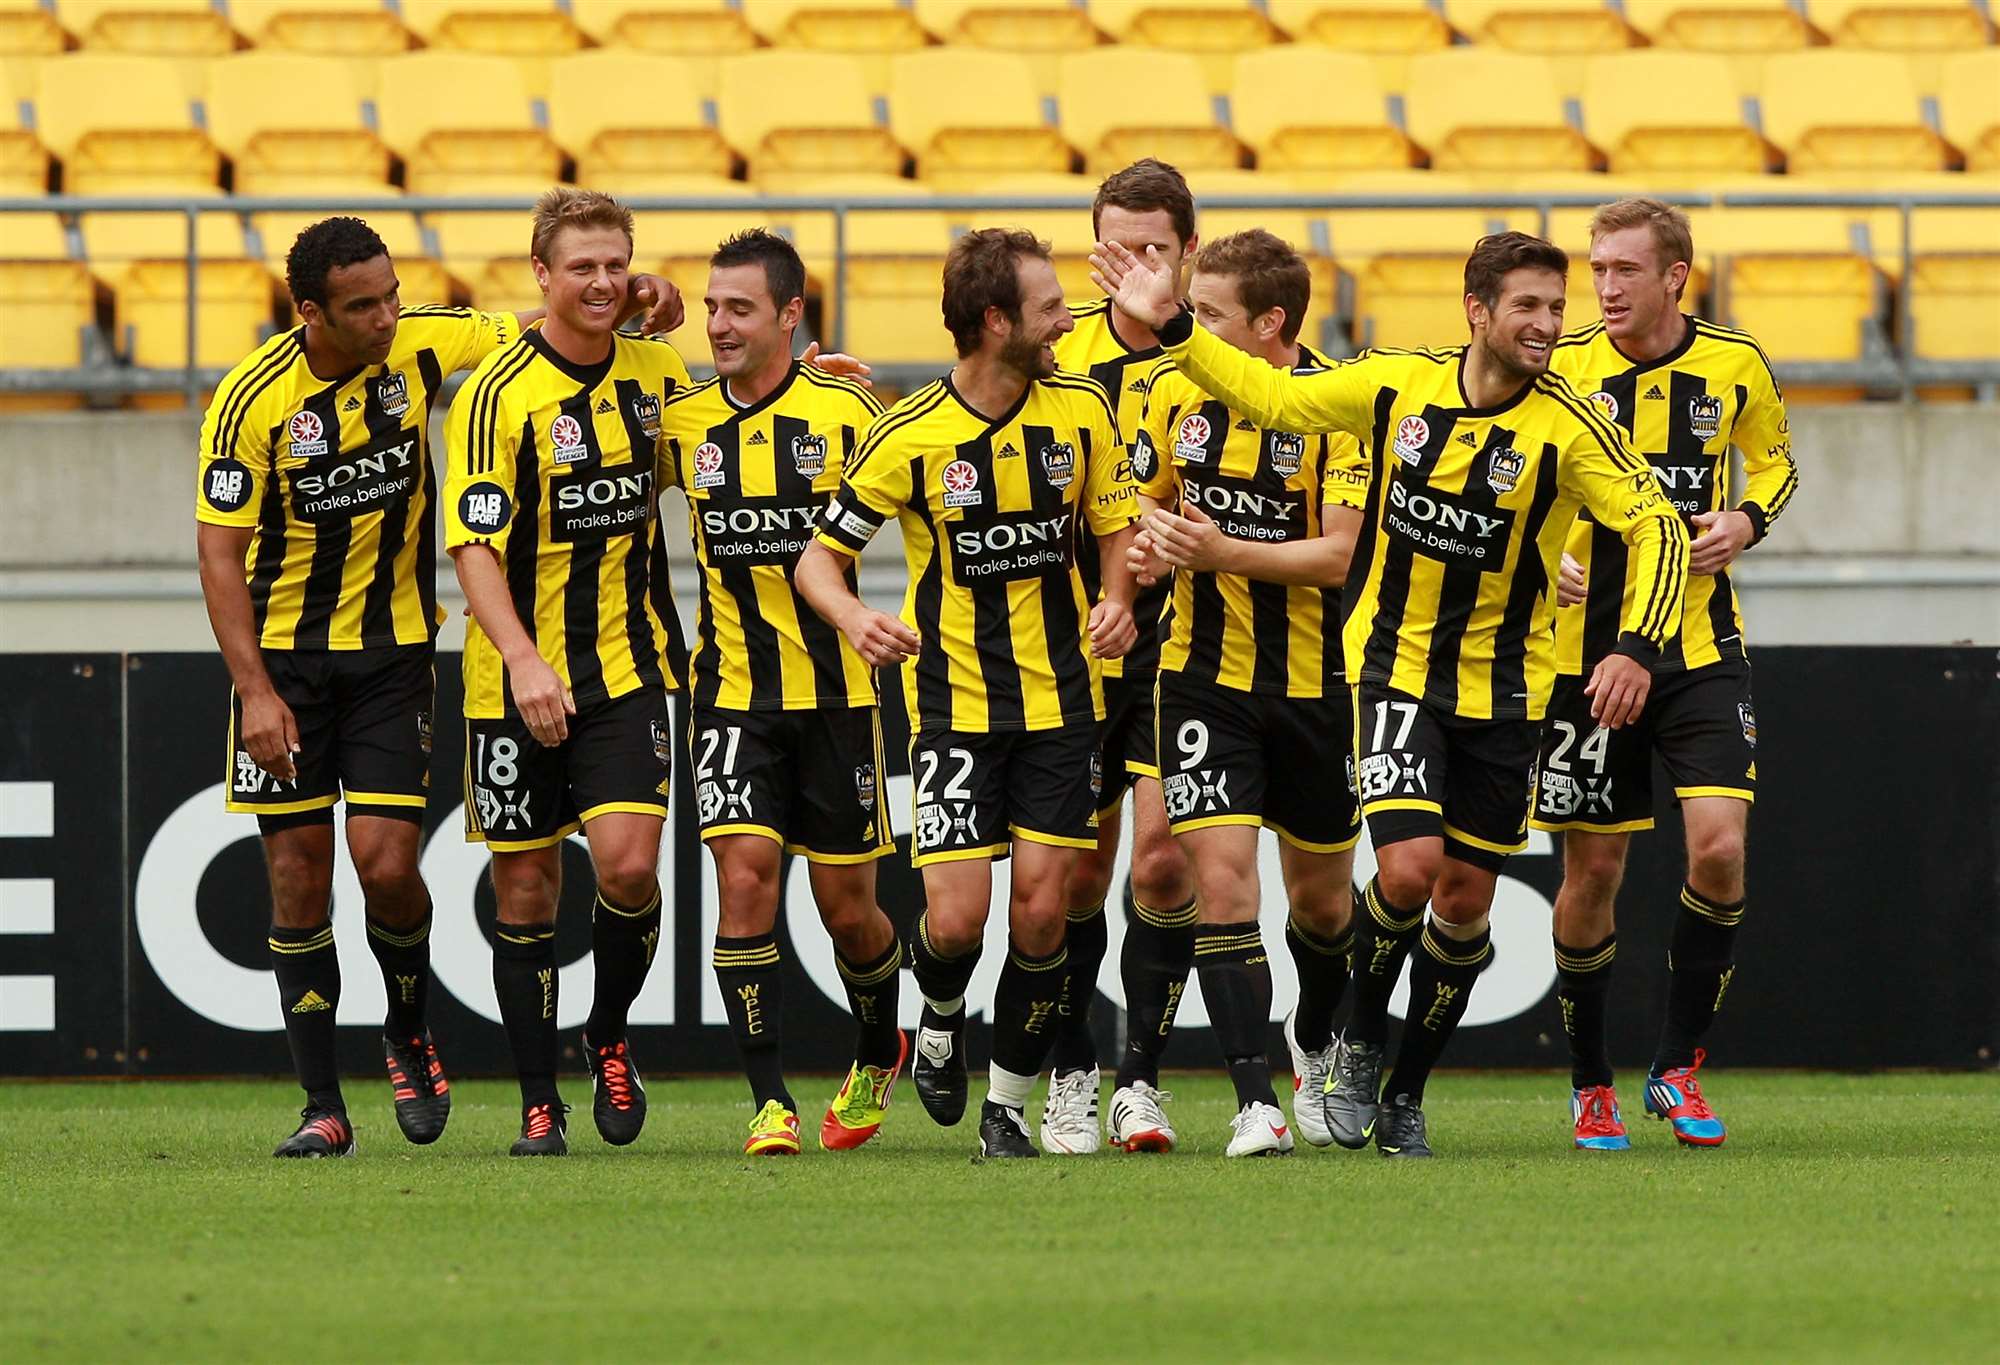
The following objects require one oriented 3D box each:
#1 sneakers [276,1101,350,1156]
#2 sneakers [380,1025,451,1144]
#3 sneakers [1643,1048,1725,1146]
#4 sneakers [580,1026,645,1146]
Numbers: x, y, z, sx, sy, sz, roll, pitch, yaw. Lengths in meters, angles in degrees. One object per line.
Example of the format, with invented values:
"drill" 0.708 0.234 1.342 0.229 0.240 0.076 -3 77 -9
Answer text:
"sneakers" -2.362 1.529 11.100 0.248 0.163 0.311 0 0 -11
"sneakers" -2.029 1.396 11.413 0.168 0.452 0.208 -14 7 -25
"sneakers" 2.443 1.448 11.619 0.176 0.278 0.499 -1 12 -16
"sneakers" -1.343 1.432 11.316 0.165 0.436 0.186 -14 -14 -7
